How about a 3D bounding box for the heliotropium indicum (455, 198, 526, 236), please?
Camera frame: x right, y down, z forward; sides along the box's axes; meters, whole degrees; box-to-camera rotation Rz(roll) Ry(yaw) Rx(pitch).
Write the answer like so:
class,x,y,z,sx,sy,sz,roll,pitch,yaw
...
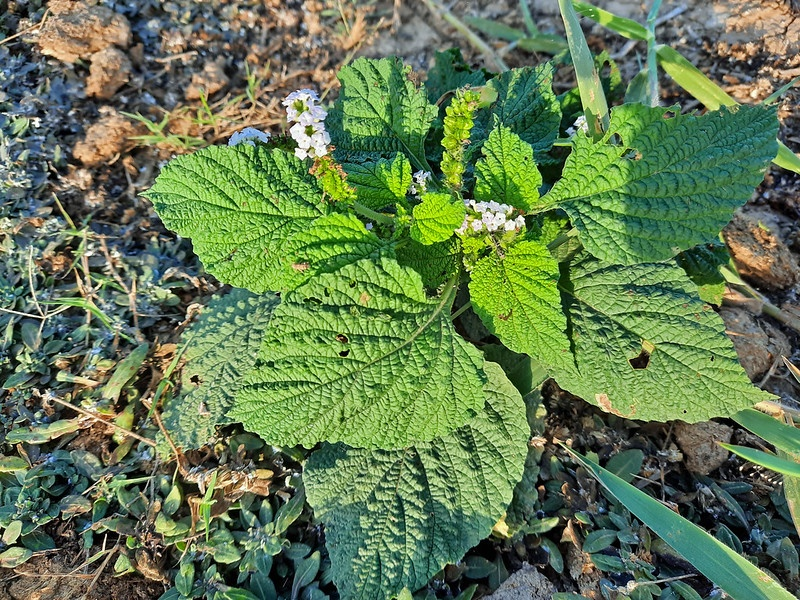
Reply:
class,x,y,z,sx,sy,sz,roll,pitch,yaw
heliotropium indicum,0.321,-0.278,2.302,0.222,0.094,0.128,14,81,3
